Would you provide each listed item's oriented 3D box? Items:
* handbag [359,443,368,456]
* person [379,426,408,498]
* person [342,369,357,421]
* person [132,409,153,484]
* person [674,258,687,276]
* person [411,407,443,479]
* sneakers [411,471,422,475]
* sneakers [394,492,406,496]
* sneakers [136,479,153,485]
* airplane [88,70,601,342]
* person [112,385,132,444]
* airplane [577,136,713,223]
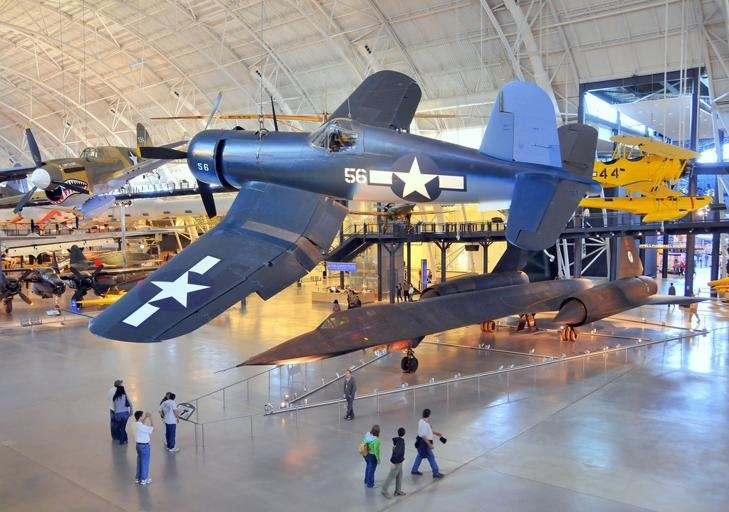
[{"bbox_3d":[-0.028,5.960,19.964,0.260,0.407,0.183,3,4,11],"label":"handbag"},{"bbox_3d":[0.920,6.287,20.255,0.652,1.998,1.353,3,4,4],"label":"person"},{"bbox_3d":[-0.538,4.997,23.642,0.407,1.745,0.773,3,4,0],"label":"person"},{"bbox_3d":[-6.999,6.060,20.515,0.480,2.220,0.637,2,4,-17],"label":"person"},{"bbox_3d":[27.076,0.990,55.960,1.541,0.473,1.671,-1,27,25],"label":"person"},{"bbox_3d":[2.064,5.867,20.906,1.022,2.164,1.432,3,4,8],"label":"person"},{"bbox_3d":[1.630,6.873,20.592,0.378,0.139,0.122,0,13,-4],"label":"sneakers"},{"bbox_3d":[1.058,7.248,19.851,0.353,0.123,0.117,4,4,-4],"label":"sneakers"},{"bbox_3d":[-6.924,7.095,20.391,0.454,0.170,0.211,1,4,-14],"label":"sneakers"},{"bbox_3d":[-0.078,-1.644,18.759,9.517,3.260,11.578,9,39,13],"label":"airplane"},{"bbox_3d":[-8.368,5.339,22.235,0.643,2.089,0.582,2,4,-12],"label":"person"},{"bbox_3d":[14.802,-4.054,34.071,6.182,2.896,6.396,7,27,14],"label":"airplane"}]
